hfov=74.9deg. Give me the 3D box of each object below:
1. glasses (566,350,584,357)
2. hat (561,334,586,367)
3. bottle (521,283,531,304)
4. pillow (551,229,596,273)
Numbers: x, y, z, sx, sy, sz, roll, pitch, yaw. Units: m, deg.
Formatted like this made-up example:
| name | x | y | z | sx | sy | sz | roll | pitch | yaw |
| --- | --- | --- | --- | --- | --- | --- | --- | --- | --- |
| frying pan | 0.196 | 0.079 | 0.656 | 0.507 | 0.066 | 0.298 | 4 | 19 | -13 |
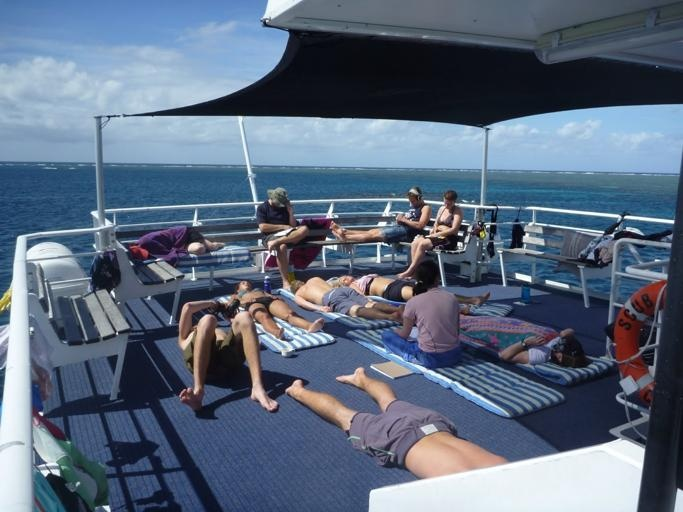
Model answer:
| name | x | y | z | sx | sy | sz | roll | pitch | yaw |
| --- | --- | --- | --- | --- | --- | --- | --- | --- | --- |
| glasses | 2.282 | 0.958 | 4.328 | 0.074 | 0.060 | 0.068 | -29 | 41 | -15 |
| hat | 2.262 | 0.943 | 4.347 | 0.236 | 0.284 | 0.232 | 6 | 43 | 34 |
| bottle | 2.780 | 0.581 | 6.672 | 0.143 | 0.267 | 0.169 | 6 | 16 | 22 |
| pillow | 3.694 | -0.063 | 7.033 | 0.470 | 0.592 | 1.105 | 7 | 15 | 26 |
